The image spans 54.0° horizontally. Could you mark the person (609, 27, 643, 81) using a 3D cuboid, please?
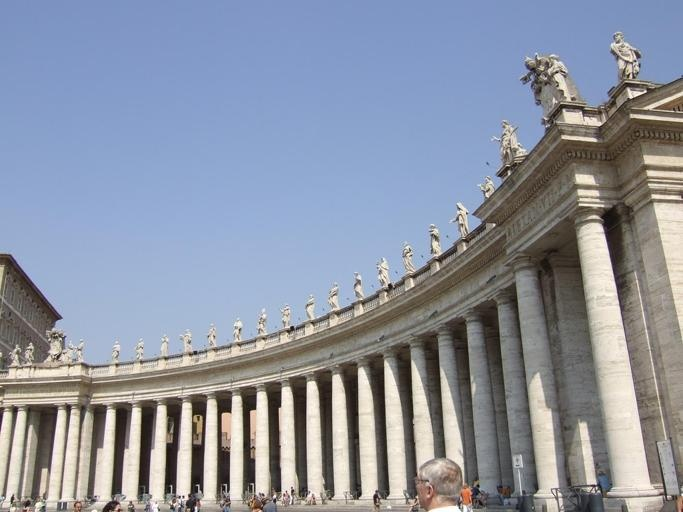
[{"bbox_3d":[15.219,-10.566,36.016,1.603,3.029,1.189,20,-36,-39],"label":"person"}]

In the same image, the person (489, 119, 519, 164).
[{"bbox_3d":[10.168,-6.874,41.613,0.966,3.385,1.513,11,-31,-29],"label":"person"}]
